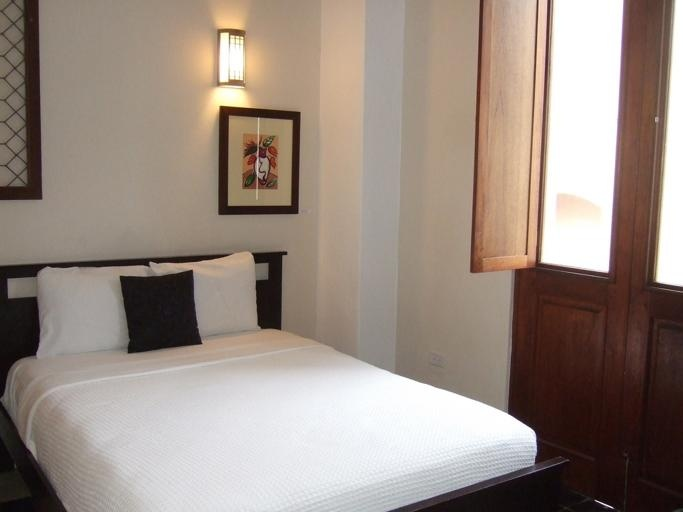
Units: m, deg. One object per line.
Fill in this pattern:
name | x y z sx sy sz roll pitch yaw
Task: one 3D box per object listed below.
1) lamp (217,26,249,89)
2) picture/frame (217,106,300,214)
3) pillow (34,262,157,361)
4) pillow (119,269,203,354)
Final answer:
lamp | -0.773 -1.391 3.895 0.192 0.379 0.119 -3 15 -26
picture/frame | -0.636 -0.727 4.070 0.731 0.960 0.034 -2 8 -38
pillow | -1.434 0.344 3.198 0.438 0.340 0.097 -6 -12 -19
pillow | -1.078 0.328 3.238 0.424 0.447 0.131 -5 -2 -32
